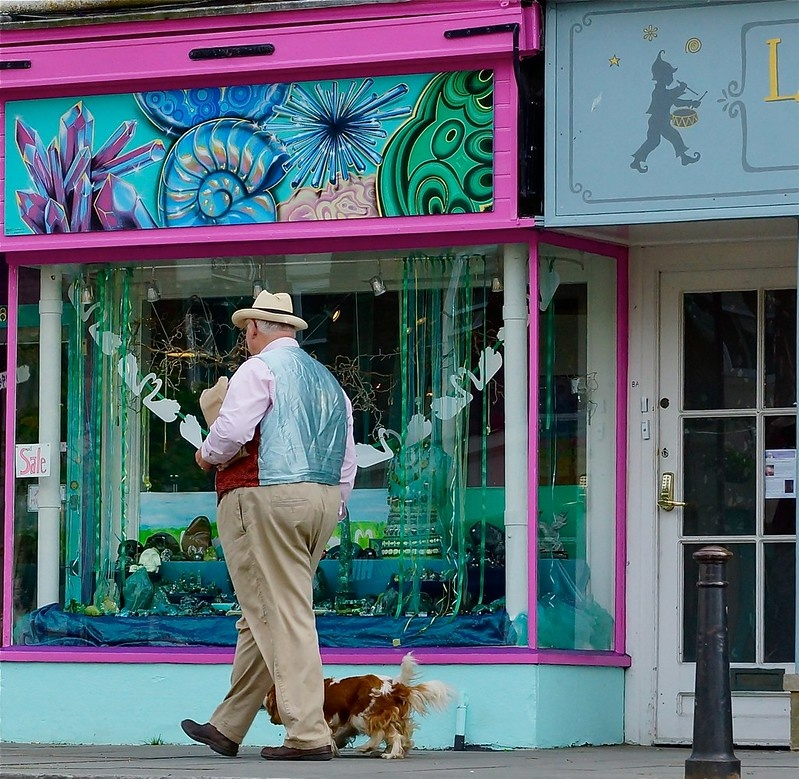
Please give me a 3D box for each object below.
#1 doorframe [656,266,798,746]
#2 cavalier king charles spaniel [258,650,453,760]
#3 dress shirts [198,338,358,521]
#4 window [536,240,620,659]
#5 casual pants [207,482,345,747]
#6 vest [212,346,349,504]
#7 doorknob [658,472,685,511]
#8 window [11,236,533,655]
[{"bbox_3d":[1.806,0.644,9.964,0.835,2.669,0.275,-4,-5,24],"label":"doorframe"},{"bbox_3d":[-0.240,1.586,8.662,0.878,0.546,0.259,-4,-27,20],"label":"cavalier king charles spaniel"},{"bbox_3d":[-0.488,0.161,8.635,0.717,0.796,0.379,3,-6,-26],"label":"dress shirts"},{"bbox_3d":[0.956,0.351,10.006,0.484,2.392,0.062,2,-13,-2],"label":"window"},{"bbox_3d":[-0.598,1.088,8.468,0.593,1.233,0.459,-2,-4,2],"label":"casual pants"},{"bbox_3d":[-0.570,0.209,8.511,0.392,0.796,0.559,-20,-30,38],"label":"vest"},{"bbox_3d":[1.525,0.601,10.079,0.181,0.287,0.130,1,-2,3],"label":"doorknob"},{"bbox_3d":[-0.631,0.337,9.884,2.065,1.751,0.036,-1,-1,23],"label":"window"}]
